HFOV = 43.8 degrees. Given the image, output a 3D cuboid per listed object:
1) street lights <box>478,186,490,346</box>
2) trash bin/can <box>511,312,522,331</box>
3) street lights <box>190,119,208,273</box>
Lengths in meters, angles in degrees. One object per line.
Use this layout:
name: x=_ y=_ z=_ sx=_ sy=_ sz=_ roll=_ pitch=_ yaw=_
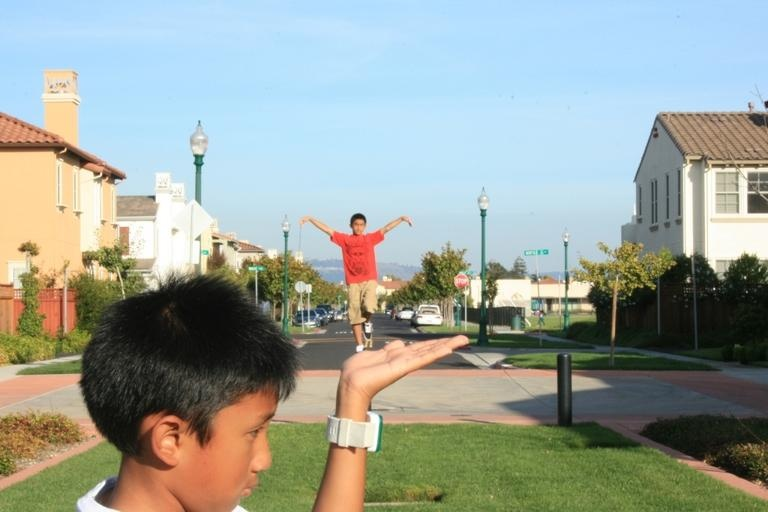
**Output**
street lights: x=3.904 y=-0.128 z=37.743 sx=0.494 sy=4.717 sz=0.498 roll=7 pitch=15 yaw=33
trash bin/can: x=8.649 y=4.384 z=62.330 sx=1.046 sy=1.289 sz=1.101 roll=-1 pitch=1 yaw=14
street lights: x=-4.607 y=-1.673 z=23.356 sx=0.506 sy=2.910 sz=0.491 roll=-4 pitch=16 yaw=-29
